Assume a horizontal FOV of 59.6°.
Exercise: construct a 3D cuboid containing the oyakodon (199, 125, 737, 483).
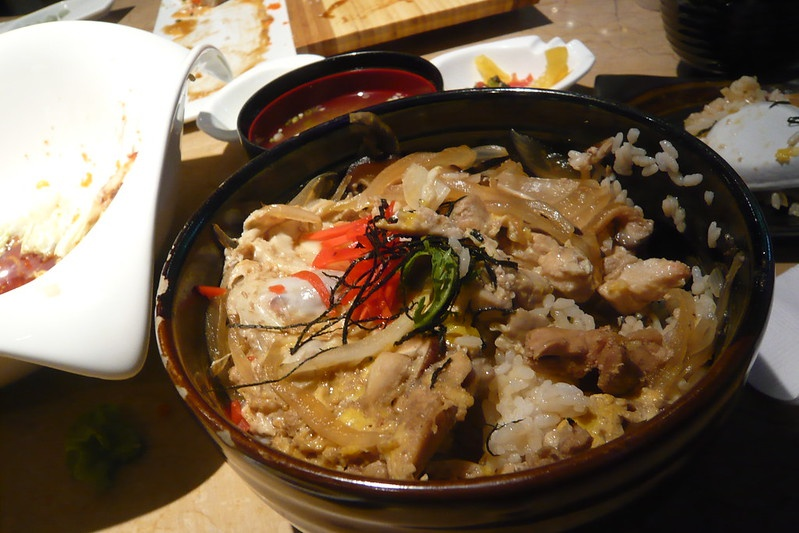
[{"bbox_3d":[0.116,0.203,2.170,1.544,0.584,1.455,-2,40,-6],"label":"oyakodon"}]
